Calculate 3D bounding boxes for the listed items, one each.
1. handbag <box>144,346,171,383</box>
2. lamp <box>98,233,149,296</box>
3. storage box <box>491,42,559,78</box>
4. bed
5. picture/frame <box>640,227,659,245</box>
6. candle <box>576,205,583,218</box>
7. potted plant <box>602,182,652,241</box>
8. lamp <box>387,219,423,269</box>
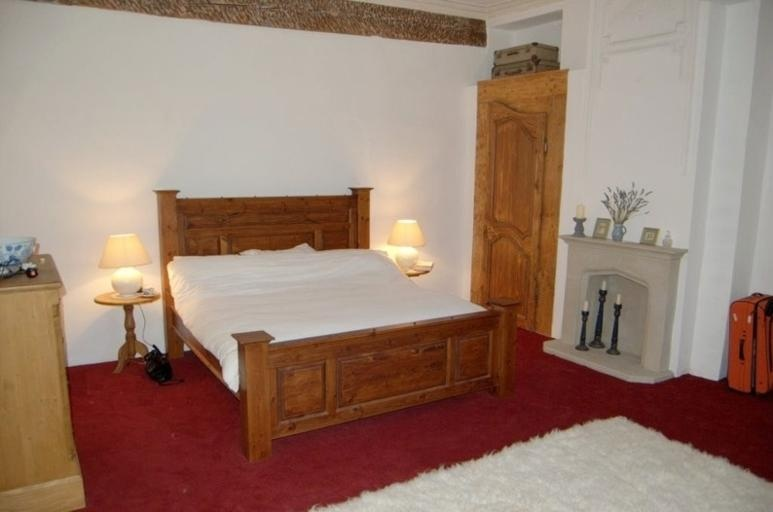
[{"bbox_3d":[-2.383,1.112,5.409,0.266,0.187,0.409,-10,43,-28],"label":"handbag"},{"bbox_3d":[-2.722,0.091,5.493,0.464,0.634,0.391,-5,9,-17],"label":"lamp"},{"bbox_3d":[1.870,-2.407,6.750,0.576,0.378,0.742,-10,14,-37],"label":"storage box"},{"bbox_3d":[-0.822,0.488,5.458,2.570,1.808,2.952,-6,10,-30],"label":"bed"},{"bbox_3d":[2.773,-0.208,5.505,0.017,0.209,0.175,15,-1,-39],"label":"picture/frame"},{"bbox_3d":[2.223,-0.506,5.995,0.073,0.155,0.173,2,9,27],"label":"candle"},{"bbox_3d":[2.566,-0.484,5.722,0.229,0.601,0.534,-8,10,-33],"label":"potted plant"},{"bbox_3d":[0.305,-0.175,6.964,0.589,0.674,0.590,-4,8,-19],"label":"lamp"}]
